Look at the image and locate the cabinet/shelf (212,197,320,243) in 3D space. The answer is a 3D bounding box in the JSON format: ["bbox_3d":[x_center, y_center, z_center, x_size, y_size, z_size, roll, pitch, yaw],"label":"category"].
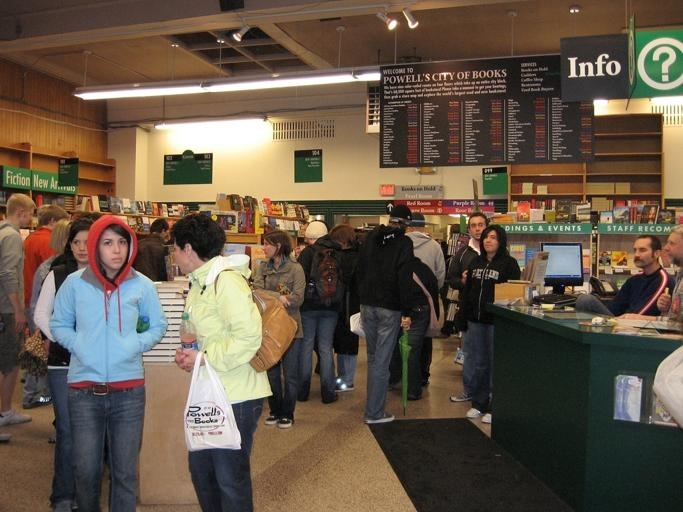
[{"bbox_3d":[-1.215,-0.438,8.435,1.351,0.430,0.413,4,-7,-6],"label":"cabinet/shelf"}]

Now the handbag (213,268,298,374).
[{"bbox_3d":[-0.397,0.424,3.186,0.237,0.456,0.250,2,4,15],"label":"handbag"}]

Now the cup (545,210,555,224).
[{"bbox_3d":[2.977,-0.552,8.206,0.180,0.178,0.174,-1,-7,0],"label":"cup"}]

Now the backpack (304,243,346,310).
[{"bbox_3d":[-0.176,0.156,5.921,0.472,0.693,0.400,-7,20,-25],"label":"backpack"}]

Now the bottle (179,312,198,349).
[{"bbox_3d":[-0.851,0.409,3.168,0.081,0.185,0.202,-2,5,-33],"label":"bottle"}]

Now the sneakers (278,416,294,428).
[{"bbox_3d":[-0.519,1.552,5.348,0.059,0.060,0.163,2,3,11],"label":"sneakers"}]

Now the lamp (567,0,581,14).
[{"bbox_3d":[3.521,-3.767,8.664,0.128,0.078,0.127,7,-6,-41],"label":"lamp"}]

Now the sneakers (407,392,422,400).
[{"bbox_3d":[0.796,1.529,6.228,0.172,0.080,0.065,3,-3,-8],"label":"sneakers"}]

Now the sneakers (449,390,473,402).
[{"bbox_3d":[1.272,1.514,6.170,0.266,0.115,0.100,1,-2,8],"label":"sneakers"}]

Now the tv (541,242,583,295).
[{"bbox_3d":[2.430,0.121,6.419,0.461,0.542,0.184,1,-5,4],"label":"tv"}]

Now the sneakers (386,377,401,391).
[{"bbox_3d":[0.622,1.519,6.689,0.081,0.104,0.244,-3,-10,29],"label":"sneakers"}]

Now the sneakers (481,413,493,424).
[{"bbox_3d":[1.390,1.554,5.481,0.088,0.065,0.155,6,11,24],"label":"sneakers"}]

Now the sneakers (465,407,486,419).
[{"bbox_3d":[1.322,1.574,5.697,0.078,0.083,0.184,-6,-13,43],"label":"sneakers"}]

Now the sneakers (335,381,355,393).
[{"bbox_3d":[0.048,1.506,6.594,0.219,0.099,0.084,9,-8,-30],"label":"sneakers"}]

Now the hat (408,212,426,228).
[{"bbox_3d":[0.898,-0.445,6.793,0.199,0.149,0.286,1,-2,3],"label":"hat"}]

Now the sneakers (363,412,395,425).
[{"bbox_3d":[0.366,1.542,5.496,0.275,0.111,0.105,-1,-1,-18],"label":"sneakers"}]

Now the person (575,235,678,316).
[{"bbox_3d":[2.699,0.211,5.419,0.877,1.015,0.816,2,-3,-2],"label":"person"}]

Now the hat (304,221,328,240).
[{"bbox_3d":[-0.266,-0.290,6.414,0.240,0.219,0.178,-26,26,-22],"label":"hat"}]

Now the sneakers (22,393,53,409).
[{"bbox_3d":[-3.049,1.470,5.790,0.262,0.105,0.104,-4,6,-37],"label":"sneakers"}]

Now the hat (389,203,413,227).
[{"bbox_3d":[0.592,-0.403,5.662,0.175,0.206,0.244,7,12,7],"label":"hat"}]
